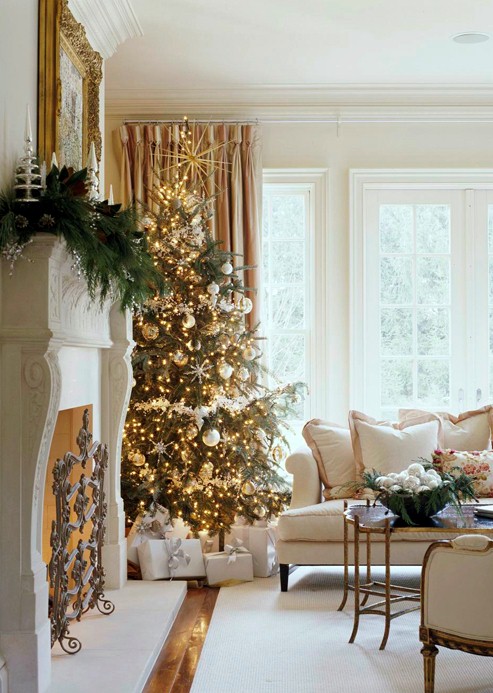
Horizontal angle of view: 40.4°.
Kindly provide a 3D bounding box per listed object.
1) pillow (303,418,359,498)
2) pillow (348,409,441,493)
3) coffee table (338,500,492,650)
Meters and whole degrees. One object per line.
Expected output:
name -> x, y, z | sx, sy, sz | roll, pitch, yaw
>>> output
pillow -> 0.499, 0.638, 3.783 | 0.113, 0.355, 0.327 | -28, -32, 34
pillow -> 0.767, 0.554, 3.482 | 0.452, 0.412, 0.151 | 2, -39, -1
coffee table -> 0.666, 0.933, 2.963 | 0.637, 0.380, 0.603 | 2, -8, -9
